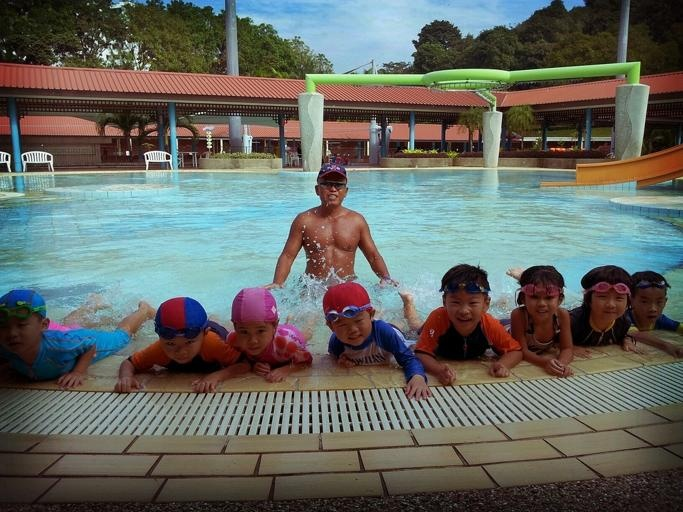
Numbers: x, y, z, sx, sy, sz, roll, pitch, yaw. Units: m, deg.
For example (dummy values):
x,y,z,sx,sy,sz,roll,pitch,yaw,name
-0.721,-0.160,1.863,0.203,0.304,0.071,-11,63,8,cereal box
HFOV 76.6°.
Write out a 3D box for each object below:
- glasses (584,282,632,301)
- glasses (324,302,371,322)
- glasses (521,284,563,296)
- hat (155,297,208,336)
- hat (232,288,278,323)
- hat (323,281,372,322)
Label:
x,y,z,sx,sy,sz,roll,pitch,yaw,name
1.555,0.190,2.522,0.222,0.092,0.090,3,10,22,glasses
0.031,0.278,2.264,0.140,0.033,0.136,-17,-4,36,glasses
1.136,0.191,2.470,0.219,0.074,0.126,3,10,22,glasses
-0.830,0.300,2.203,0.259,0.120,0.229,1,0,-6,hat
-0.467,0.261,2.230,0.240,0.107,0.203,0,3,-2,hat
0.019,0.235,2.337,0.245,0.157,0.250,-14,3,38,hat
